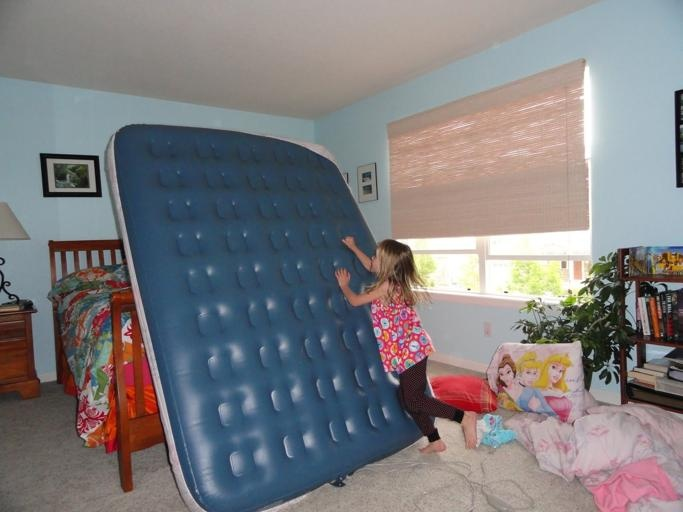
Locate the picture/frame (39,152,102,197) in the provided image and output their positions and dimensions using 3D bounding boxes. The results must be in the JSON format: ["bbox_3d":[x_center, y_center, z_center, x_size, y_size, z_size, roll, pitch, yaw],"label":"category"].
[{"bbox_3d":[-2.726,-0.803,4.779,0.441,0.409,0.033,-4,1,-36],"label":"picture/frame"}]

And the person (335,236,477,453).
[{"bbox_3d":[0.415,0.572,2.968,0.823,1.436,0.407,-4,2,4],"label":"person"}]
